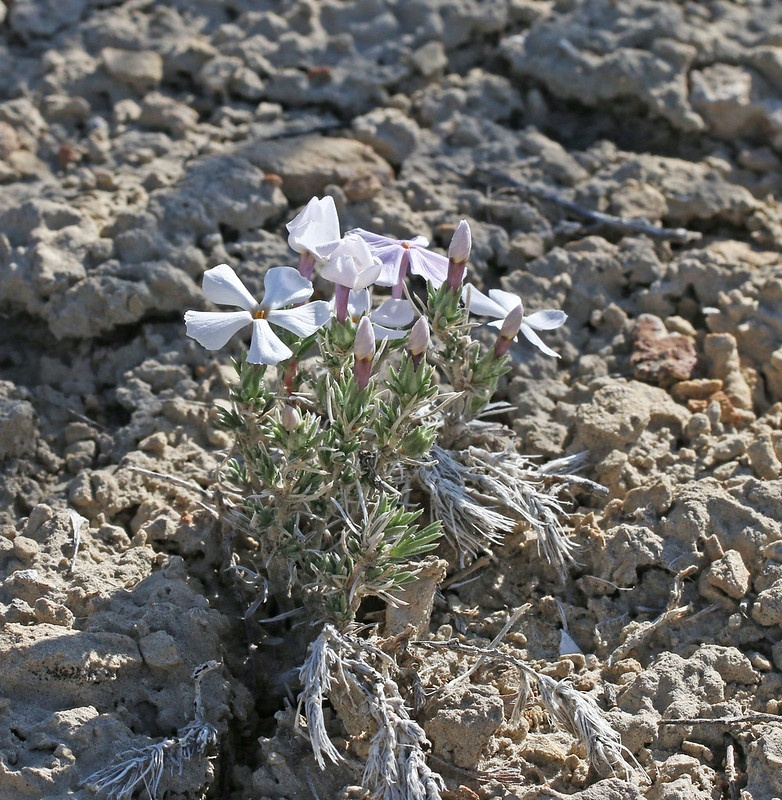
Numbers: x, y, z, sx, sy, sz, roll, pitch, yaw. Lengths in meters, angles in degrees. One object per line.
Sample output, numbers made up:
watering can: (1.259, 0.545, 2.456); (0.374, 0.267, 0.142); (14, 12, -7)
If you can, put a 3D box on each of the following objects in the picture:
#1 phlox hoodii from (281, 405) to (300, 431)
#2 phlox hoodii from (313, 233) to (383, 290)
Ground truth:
phlox hoodii: (-0.349, 0.062, 5.099); (0.062, 0.053, 0.085); (0, 102, 0)
phlox hoodii: (-0.141, -0.463, 5.097); (0.165, 0.131, 0.208); (5, 45, -22)
